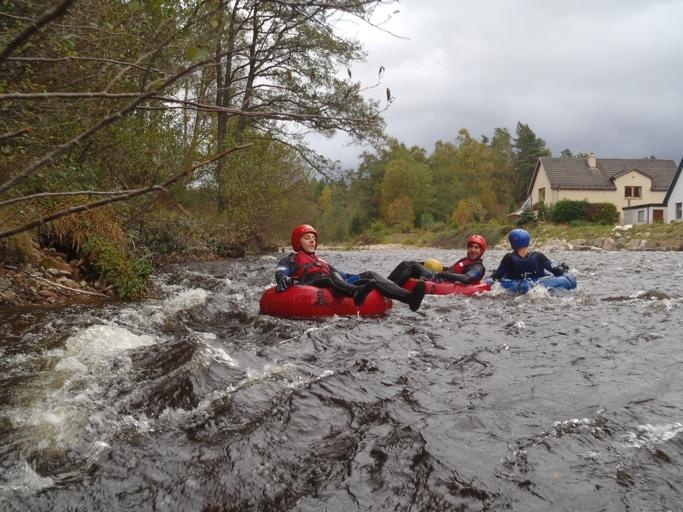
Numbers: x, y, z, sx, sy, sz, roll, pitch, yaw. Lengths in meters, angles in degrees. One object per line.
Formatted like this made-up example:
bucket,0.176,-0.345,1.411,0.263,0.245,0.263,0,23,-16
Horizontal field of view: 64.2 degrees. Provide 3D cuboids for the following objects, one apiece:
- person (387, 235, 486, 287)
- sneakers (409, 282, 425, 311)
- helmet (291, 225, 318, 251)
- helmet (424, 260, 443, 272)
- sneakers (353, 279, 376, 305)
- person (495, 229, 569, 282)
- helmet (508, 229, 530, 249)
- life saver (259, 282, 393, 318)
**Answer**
person,1.955,0.110,11.070,1.642,1.011,1.081,10,0,-9
sneakers,1.181,0.645,8.550,0.180,0.508,0.214,-12,47,-22
helmet,-0.663,-0.332,9.820,0.489,0.494,0.392,-15,-13,37
helmet,1.956,0.247,11.520,0.340,0.298,0.287,8,27,38
sneakers,0.340,0.576,8.510,0.285,0.428,0.233,-3,13,-19
person,3.847,-0.020,11.269,0.925,0.774,1.250,-2,2,22
helmet,3.752,-0.345,11.453,0.343,0.412,0.447,2,6,7
life saver,-0.303,0.747,8.605,1.992,0.500,0.460,2,13,-2
